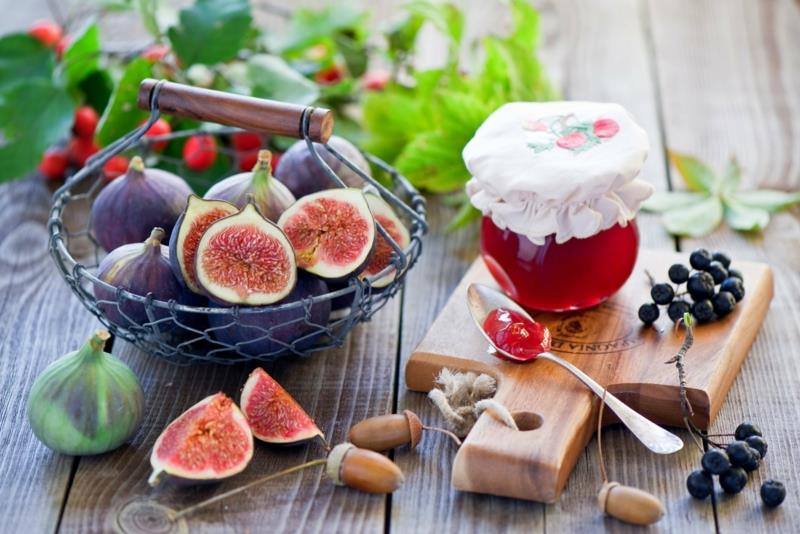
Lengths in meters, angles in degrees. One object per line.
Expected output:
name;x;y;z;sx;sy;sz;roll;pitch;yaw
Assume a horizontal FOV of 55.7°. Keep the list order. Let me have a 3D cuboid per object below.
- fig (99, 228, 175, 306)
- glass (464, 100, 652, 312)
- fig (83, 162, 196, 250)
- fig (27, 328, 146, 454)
fig;-0.408;-0.009;1.235;0.116;0.118;0.114;-5;31;-44
glass;0.274;-0.095;1.346;0.311;0.281;0.310;-26;38;-25
fig;-0.457;-0.105;1.397;0.165;0.173;0.169;2;6;31
fig;-0.455;0.178;1.208;0.173;0.188;0.181;12;13;15
